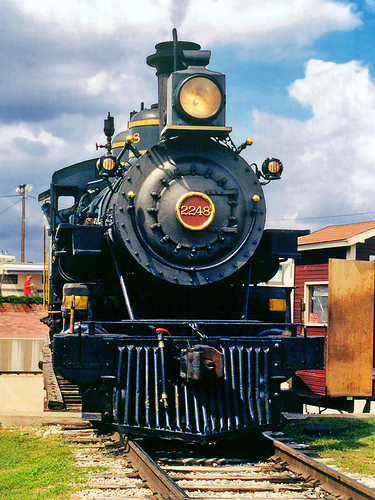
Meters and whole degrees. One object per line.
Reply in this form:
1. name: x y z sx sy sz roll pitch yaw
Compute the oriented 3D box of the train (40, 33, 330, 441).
1. train: -0.212 -0.238 9.864 2.548 4.325 3.501 0 0 -10
